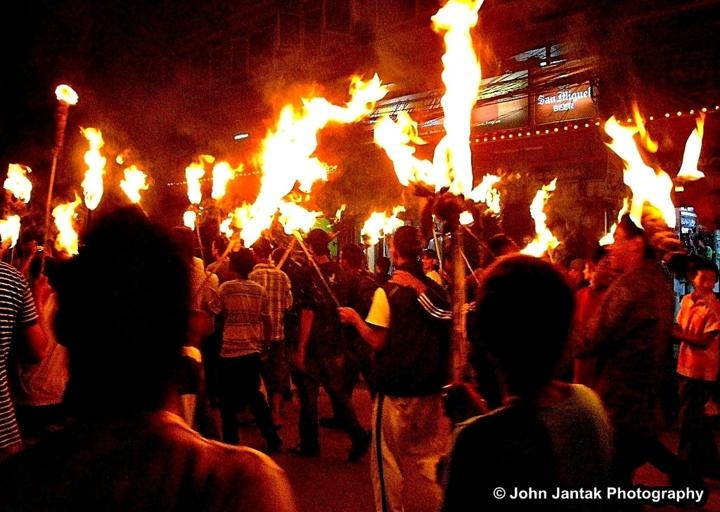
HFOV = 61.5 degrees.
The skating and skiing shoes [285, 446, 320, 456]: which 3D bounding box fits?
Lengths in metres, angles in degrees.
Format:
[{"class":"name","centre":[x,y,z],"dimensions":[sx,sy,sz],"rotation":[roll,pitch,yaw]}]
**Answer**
[{"class":"skating and skiing shoes","centre":[-0.617,2.169,6.735],"dimensions":[0.209,0.079,0.155],"rotation":[0,-3,16]}]
